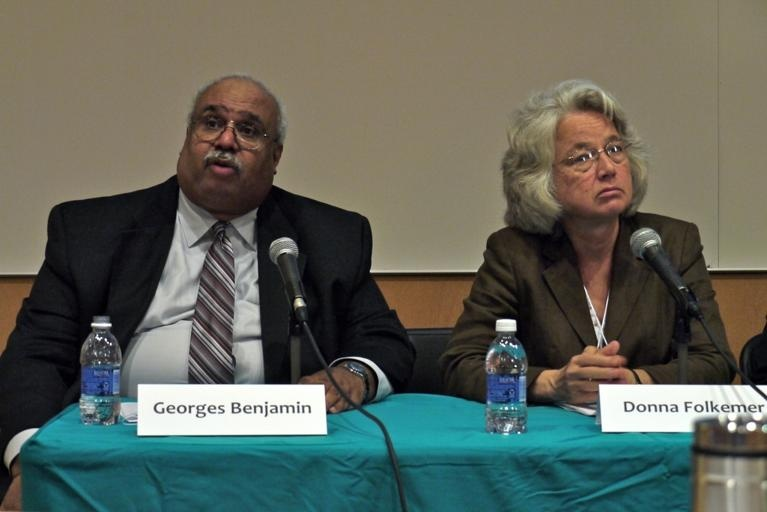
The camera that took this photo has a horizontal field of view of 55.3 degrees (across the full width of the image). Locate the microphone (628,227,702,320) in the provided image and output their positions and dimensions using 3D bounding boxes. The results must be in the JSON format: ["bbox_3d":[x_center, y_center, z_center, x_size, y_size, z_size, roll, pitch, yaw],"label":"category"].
[{"bbox_3d":[0.997,0.062,2.563,0.081,0.352,0.249,4,-14,-26],"label":"microphone"}]

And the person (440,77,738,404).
[{"bbox_3d":[0.806,-0.085,3.186,1.165,1.369,0.424,-1,-12,-6],"label":"person"}]

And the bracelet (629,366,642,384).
[{"bbox_3d":[0.941,0.446,2.717,0.027,0.039,0.014,3,-41,-34],"label":"bracelet"}]

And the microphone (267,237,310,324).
[{"bbox_3d":[-0.325,0.077,2.484,0.118,0.324,0.184,0,-12,-8],"label":"microphone"}]

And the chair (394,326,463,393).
[{"bbox_3d":[0.222,0.520,3.727,0.282,0.410,0.298,1,-3,3],"label":"chair"}]
